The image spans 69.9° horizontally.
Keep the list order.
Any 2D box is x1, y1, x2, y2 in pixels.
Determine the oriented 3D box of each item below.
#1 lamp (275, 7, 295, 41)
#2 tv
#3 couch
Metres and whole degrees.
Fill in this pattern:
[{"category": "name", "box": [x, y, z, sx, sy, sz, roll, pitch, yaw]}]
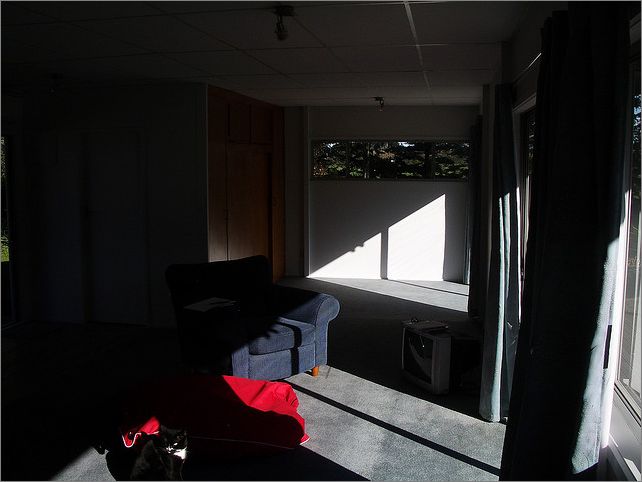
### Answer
[{"category": "lamp", "box": [-0.296, -1.713, 3.659, 0.165, 0.252, 0.222, 4, 12, 17]}, {"category": "tv", "box": [1.169, 1.098, 4.393, 0.597, 0.542, 0.629, 4, -1, -14]}, {"category": "couch", "box": [-0.743, 0.783, 4.632, 1.364, 1.132, 1.336, -4, 6, -40]}]
